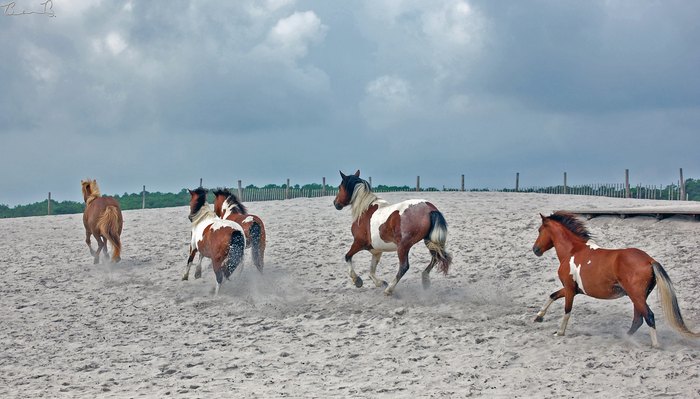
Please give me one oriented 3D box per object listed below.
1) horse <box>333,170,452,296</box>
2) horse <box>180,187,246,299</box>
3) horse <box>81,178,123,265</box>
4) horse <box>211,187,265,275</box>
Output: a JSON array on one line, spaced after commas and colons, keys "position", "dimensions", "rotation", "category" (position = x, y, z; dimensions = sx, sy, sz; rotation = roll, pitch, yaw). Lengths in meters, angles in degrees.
[{"position": [1.049, 0.962, 13.952], "dimensions": [1.277, 3.038, 4.363], "rotation": [5, -2, -41], "category": "horse"}, {"position": [-3.718, 1.087, 14.064], "dimensions": [1.113, 2.809, 2.118], "rotation": [-3, 3, -35], "category": "horse"}, {"position": [-7.845, 0.663, 16.443], "dimensions": [1.080, 2.602, 3.025], "rotation": [-3, 3, -27], "category": "horse"}, {"position": [-3.165, 0.628, 14.908], "dimensions": [0.554, 1.404, 2.283], "rotation": [-25, 34, -33], "category": "horse"}]
